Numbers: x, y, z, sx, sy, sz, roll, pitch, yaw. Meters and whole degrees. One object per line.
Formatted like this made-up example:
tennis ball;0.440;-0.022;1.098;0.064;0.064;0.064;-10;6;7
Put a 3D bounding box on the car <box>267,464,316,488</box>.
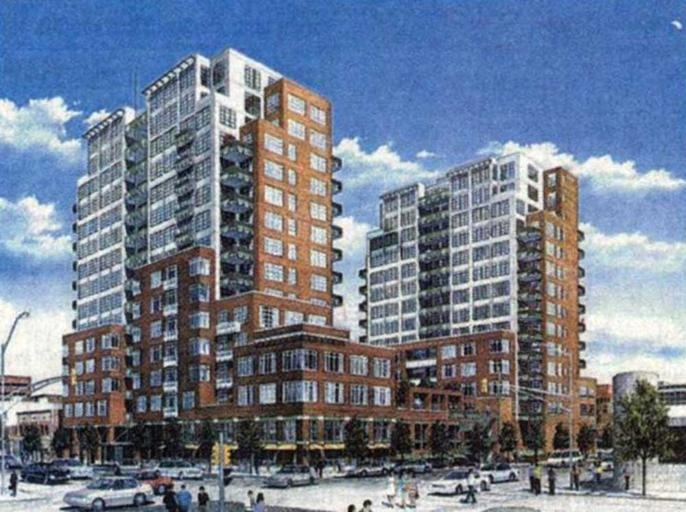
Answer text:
car;-6.587;29.236;165.225;6.389;3.236;2.700;11;0;-31
